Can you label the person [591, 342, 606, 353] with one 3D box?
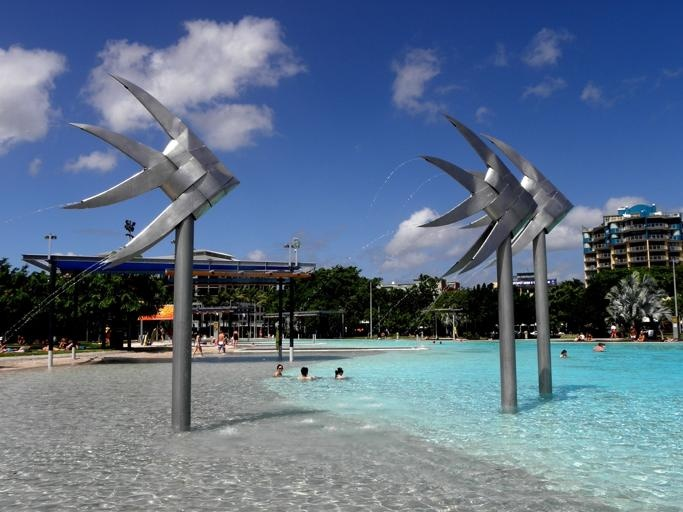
[{"bbox_3d":[21.381,7.556,45.161,0.861,0.693,2.113,-5,-10,25],"label":"person"}]
